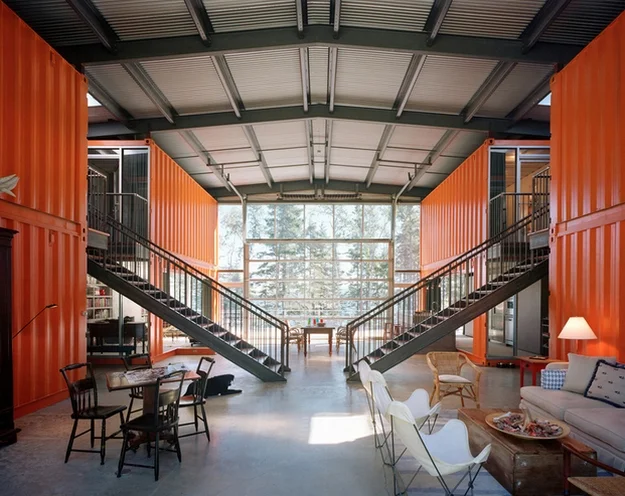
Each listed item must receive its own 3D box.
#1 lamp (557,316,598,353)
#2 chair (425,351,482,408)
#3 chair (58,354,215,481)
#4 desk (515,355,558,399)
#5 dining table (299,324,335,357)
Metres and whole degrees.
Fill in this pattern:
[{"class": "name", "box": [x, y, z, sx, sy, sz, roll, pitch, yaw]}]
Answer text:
[{"class": "lamp", "box": [4.236, 1.348, 8.251, 0.523, 0.617, 0.480, -1, -5, -1]}, {"class": "chair", "box": [2.638, 2.490, 9.534, 1.247, 1.271, 1.005, 0, -13, 0]}, {"class": "chair", "box": [-2.536, 2.252, 7.051, 2.023, 1.181, 1.225, -1, -3, 28]}, {"class": "desk", "box": [4.015, 2.188, 8.911, 0.769, 0.454, 0.716, 7, -8, -23]}, {"class": "dining table", "box": [0.092, 2.683, 14.470, 1.090, 0.851, 1.012, 0, -4, 10]}]
